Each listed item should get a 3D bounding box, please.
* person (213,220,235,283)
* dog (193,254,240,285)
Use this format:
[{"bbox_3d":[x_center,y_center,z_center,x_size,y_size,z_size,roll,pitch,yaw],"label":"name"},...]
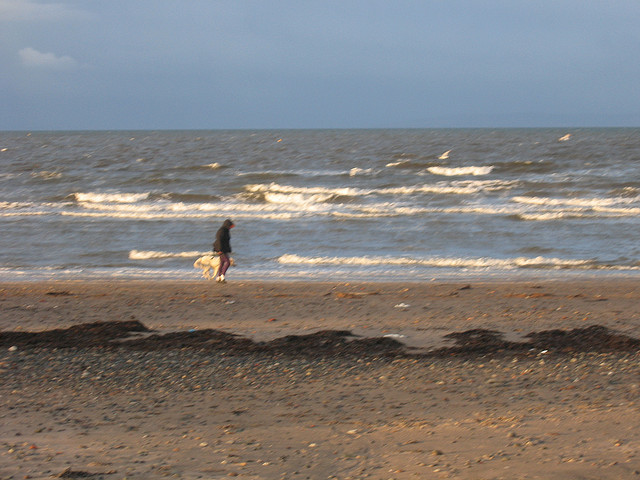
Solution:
[{"bbox_3d":[-2.463,0.270,23.483,0.465,1.578,0.594,-1,11,-5],"label":"person"},{"bbox_3d":[-2.644,0.687,23.957,1.452,0.505,0.386,2,-3,43],"label":"dog"}]
